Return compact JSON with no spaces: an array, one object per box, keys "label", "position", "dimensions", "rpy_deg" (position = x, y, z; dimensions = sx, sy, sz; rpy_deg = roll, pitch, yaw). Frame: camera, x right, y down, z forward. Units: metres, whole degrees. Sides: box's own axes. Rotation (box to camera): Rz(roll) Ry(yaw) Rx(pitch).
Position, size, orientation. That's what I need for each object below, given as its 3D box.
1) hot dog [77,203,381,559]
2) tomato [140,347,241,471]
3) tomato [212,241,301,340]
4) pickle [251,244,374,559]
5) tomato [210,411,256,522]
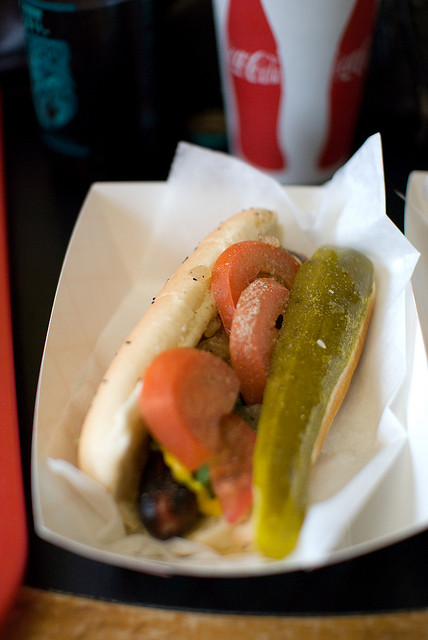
[{"label":"hot dog","position":[0.014,0.022,0.385],"dimensions":[0.144,0.076,0.262],"rpy_deg":[25,49,2]},{"label":"tomato","position":[-0.013,0.046,0.307],"dimensions":[0.051,0.016,0.064],"rpy_deg":[33,45,-15]},{"label":"tomato","position":[0.024,-0.020,0.414],"dimensions":[0.025,0.066,0.068],"rpy_deg":[-1,59,29]},{"label":"pickle","position":[0.066,0.032,0.367],"dimensions":[0.048,0.053,0.222],"rpy_deg":[6,59,30]},{"label":"tomato","position":[0.011,0.082,0.310],"dimensions":[0.013,0.033,0.054],"rpy_deg":[-5,69,33]}]
